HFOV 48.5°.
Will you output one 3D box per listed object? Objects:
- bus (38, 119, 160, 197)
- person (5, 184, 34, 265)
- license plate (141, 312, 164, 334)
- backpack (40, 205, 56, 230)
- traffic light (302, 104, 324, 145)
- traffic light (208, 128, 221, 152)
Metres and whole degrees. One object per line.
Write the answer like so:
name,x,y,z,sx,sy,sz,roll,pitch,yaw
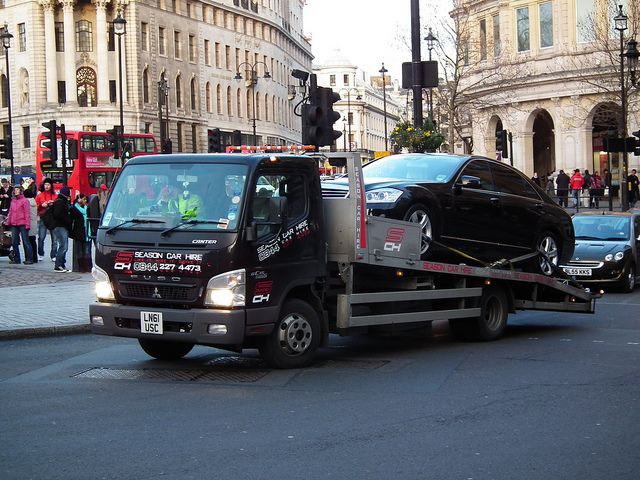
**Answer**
bus,-14.740,-4.532,46.912,3.529,4.984,9.629,-3,7,14
person,-9.255,-0.485,21.886,0.736,2.430,0.880,-2,3,-24
license plate,-1.905,0.935,8.084,0.254,0.191,0.036,1,3,40
backpack,-7.503,-0.643,19.629,0.235,0.673,0.746,-2,3,-32
traffic light,-0.213,-2.495,15.198,0.538,0.879,0.390,1,3,34
traffic light,-5.176,-4.939,34.697,0.493,1.274,1.691,-1,2,-9
